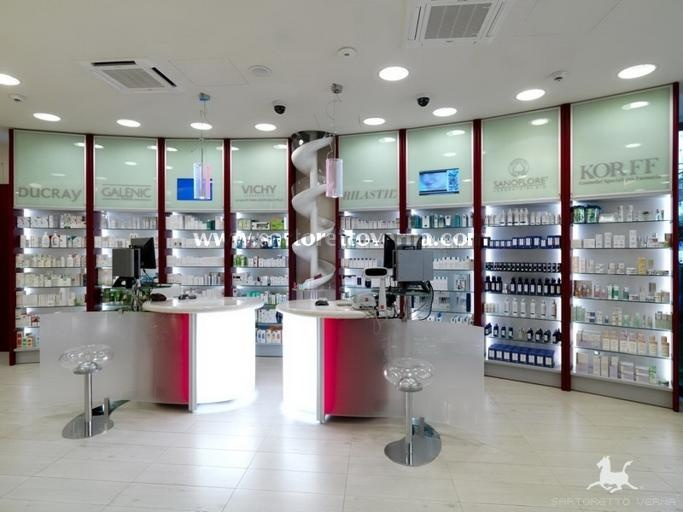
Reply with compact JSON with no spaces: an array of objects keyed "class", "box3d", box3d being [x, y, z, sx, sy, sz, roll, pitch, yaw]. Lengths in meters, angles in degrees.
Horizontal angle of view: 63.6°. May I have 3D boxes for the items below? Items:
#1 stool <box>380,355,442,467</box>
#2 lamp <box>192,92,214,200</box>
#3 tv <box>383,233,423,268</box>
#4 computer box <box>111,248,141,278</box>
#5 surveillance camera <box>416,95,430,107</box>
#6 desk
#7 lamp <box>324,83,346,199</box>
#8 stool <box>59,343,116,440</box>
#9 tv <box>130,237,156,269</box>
[{"class":"stool","box3d":[0.690,1.541,5.576,0.838,0.954,0.860,0,5,0]},{"class":"lamp","box3d":[-1.928,-1.398,7.620,0.290,1.113,1.884,-3,2,-14]},{"class":"tv","box3d":[0.655,-0.125,5.939,0.479,0.446,0.339,1,4,-3]},{"class":"computer box","box3d":[-2.594,0.070,6.602,0.353,0.476,0.330,-3,3,-40]},{"class":"surveillance camera","box3d":[1.032,-1.967,6.925,0.102,0.072,0.101,-3,2,-31]},{"class":"desk","box3d":[-0.100,1.188,6.352,1.252,1.099,1.258,0,3,-2]},{"class":"lamp","box3d":[-0.166,-1.381,6.648,0.242,1.342,0.235,5,4,10]},{"class":"stool","box3d":[-2.750,1.441,5.917,0.522,0.928,0.535,-3,2,-26]},{"class":"tv","box3d":[-2.434,-0.030,6.697,0.366,0.369,0.134,4,10,29]}]
